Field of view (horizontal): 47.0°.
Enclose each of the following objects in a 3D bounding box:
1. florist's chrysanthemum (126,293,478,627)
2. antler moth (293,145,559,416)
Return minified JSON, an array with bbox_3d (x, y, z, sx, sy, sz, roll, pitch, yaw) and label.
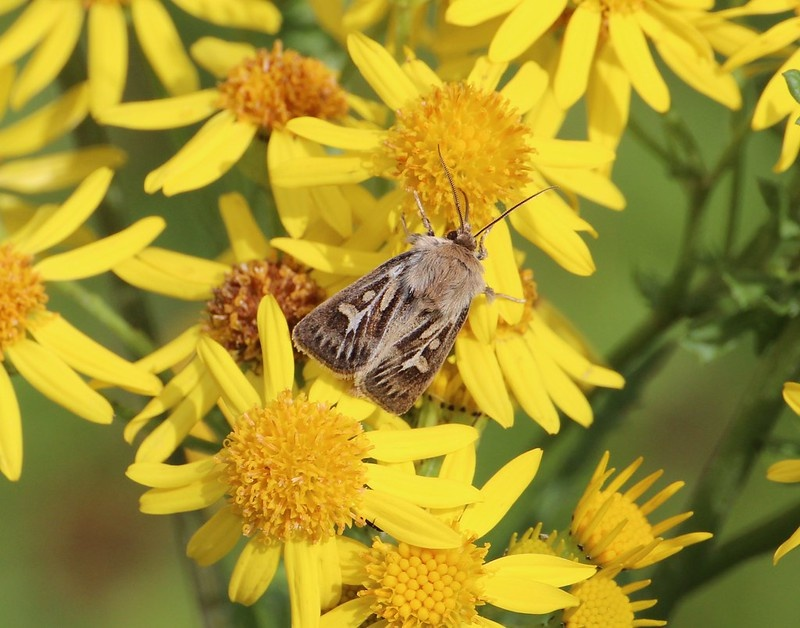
[{"bbox_3d":[-0.129,0.222,1.476,0.488,0.241,0.519,4,76,-3],"label":"florist's chrysanthemum"},{"bbox_3d":[0.078,-0.059,1.468,0.248,0.449,0.109,24,32,-26],"label":"antler moth"}]
